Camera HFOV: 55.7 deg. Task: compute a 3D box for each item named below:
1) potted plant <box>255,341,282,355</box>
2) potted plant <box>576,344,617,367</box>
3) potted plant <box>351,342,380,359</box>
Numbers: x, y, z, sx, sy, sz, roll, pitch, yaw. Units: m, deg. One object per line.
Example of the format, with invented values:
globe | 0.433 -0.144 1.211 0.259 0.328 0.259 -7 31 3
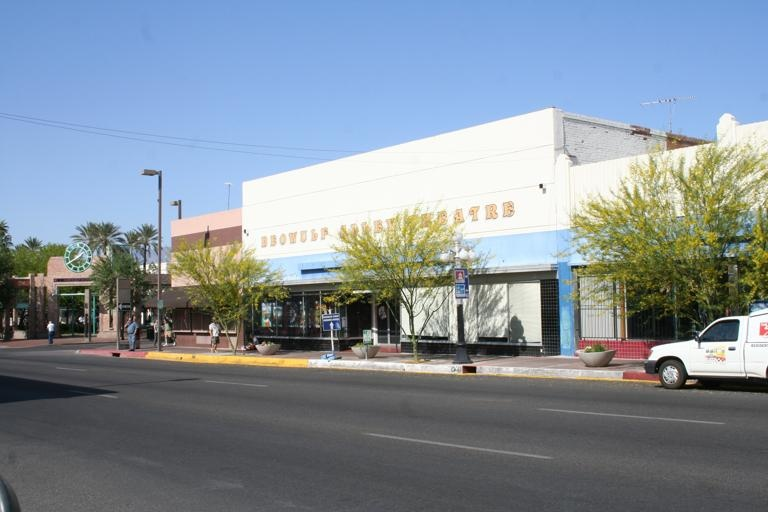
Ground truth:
potted plant | -6.384 4.848 39.253 0.884 0.428 0.878 11 -18 -39
potted plant | 7.858 3.697 27.264 0.963 0.543 0.977 2 -8 -15
potted plant | -0.844 4.449 34.189 1.115 0.656 0.644 0 -7 -14
